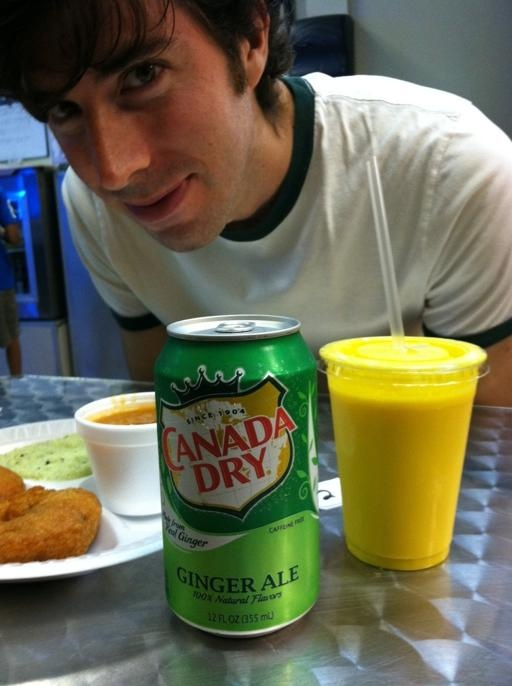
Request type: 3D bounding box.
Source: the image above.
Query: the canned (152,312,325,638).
[{"bbox_3d":[-0.013,0.107,0.523,0.125,0.234,0.092,-3,15,3],"label":"canned"}]

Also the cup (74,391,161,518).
[{"bbox_3d":[-0.148,0.136,0.803,0.144,0.109,0.142,-3,14,1],"label":"cup"}]
